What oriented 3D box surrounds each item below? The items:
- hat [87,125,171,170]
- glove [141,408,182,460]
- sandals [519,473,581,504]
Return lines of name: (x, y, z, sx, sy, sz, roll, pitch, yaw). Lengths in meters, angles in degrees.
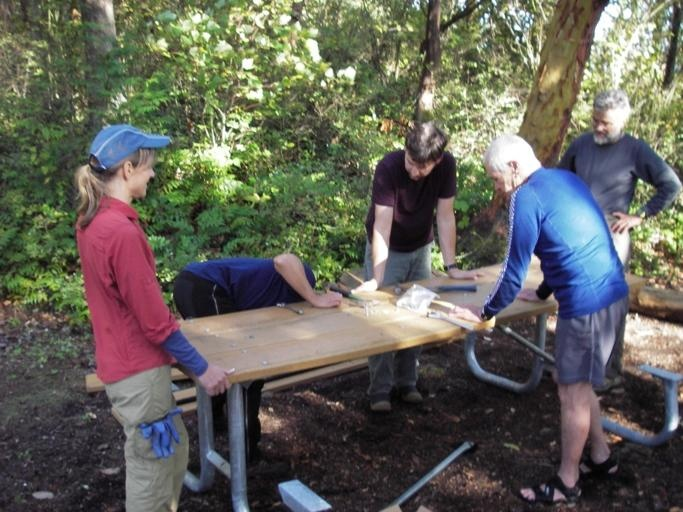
hat: (-1.519, -0.819, 4.382, 0.604, 0.281, 0.394, -23, 10, -24)
glove: (-1.294, 1.277, 4.347, 0.317, 0.343, 0.090, -20, 4, -41)
sandals: (1.733, 1.957, 5.113, 0.493, 0.251, 0.221, 3, 9, 0)
